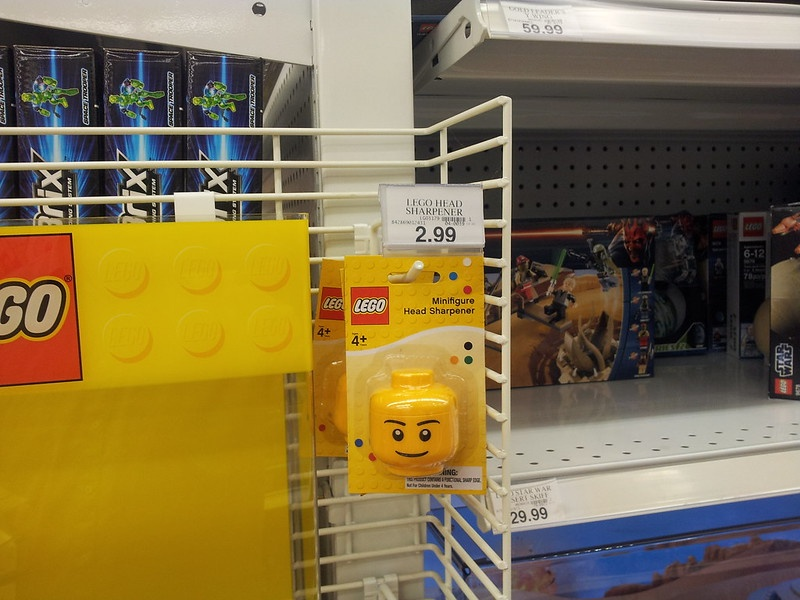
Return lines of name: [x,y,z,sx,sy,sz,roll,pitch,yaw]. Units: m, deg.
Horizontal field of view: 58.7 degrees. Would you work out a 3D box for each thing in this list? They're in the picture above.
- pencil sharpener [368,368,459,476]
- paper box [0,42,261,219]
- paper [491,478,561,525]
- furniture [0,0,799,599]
pencil sharpener: [0.017,0.161,0.984,0.124,0.138,0.127,-1,0,2]
paper box: [-0.423,-0.256,1.096,0.287,0.260,0.094,-1,5,-10]
paper: [0.198,0.325,1.137,0.126,0.082,0.017,-1,-23,-12]
furniture: [-0.183,-0.059,1.619,0.977,1.428,0.728,-1,2,-18]
